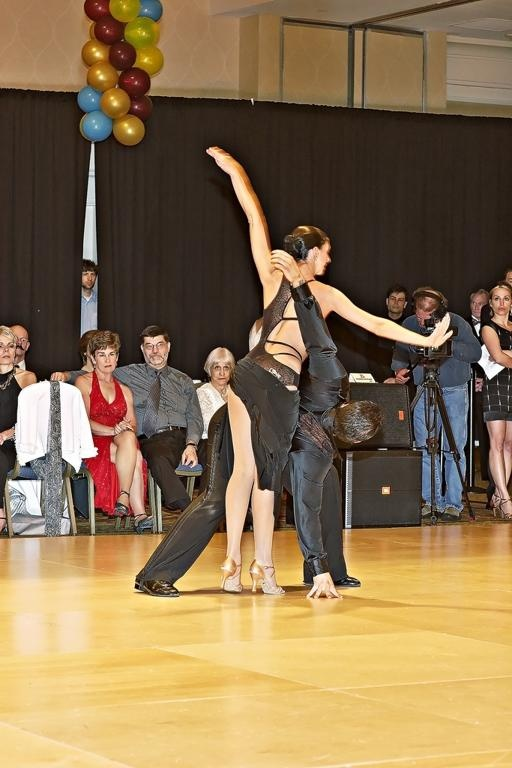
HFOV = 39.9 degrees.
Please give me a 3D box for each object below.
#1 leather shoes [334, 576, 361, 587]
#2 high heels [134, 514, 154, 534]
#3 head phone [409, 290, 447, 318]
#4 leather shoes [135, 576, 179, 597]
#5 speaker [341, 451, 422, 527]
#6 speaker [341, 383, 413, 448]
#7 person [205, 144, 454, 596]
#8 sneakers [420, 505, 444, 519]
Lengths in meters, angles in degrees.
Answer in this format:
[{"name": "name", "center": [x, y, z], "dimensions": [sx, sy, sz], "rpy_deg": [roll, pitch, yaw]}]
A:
[{"name": "leather shoes", "center": [0.422, 0.925, 3.289], "dimensions": [0.130, 0.052, 0.045], "rpy_deg": [-3, -1, 5]}, {"name": "high heels", "center": [-0.823, 1.024, 5.146], "dimensions": [0.069, 0.081, 0.202], "rpy_deg": [7, -29, -29]}, {"name": "head phone", "center": [1.406, -0.644, 5.760], "dimensions": [0.224, 0.247, 0.286], "rpy_deg": [-8, -32, 5]}, {"name": "leather shoes", "center": [-0.425, 0.860, 3.024], "dimensions": [0.182, 0.077, 0.072], "rpy_deg": [-1, -2, 31]}, {"name": "speaker", "center": [0.998, 0.802, 5.744], "dimensions": [0.664, 0.624, 0.522], "rpy_deg": [-2, 8, -8]}, {"name": "speaker", "center": [0.989, 0.252, 5.940], "dimensions": [0.601, 0.543, 0.511], "rpy_deg": [0, -3, -12]}, {"name": "person", "center": [0.202, -0.117, 3.011], "dimensions": [0.901, 2.062, 0.410], "rpy_deg": [-2, -2, 15]}, {"name": "sneakers", "center": [1.512, 1.134, 6.200], "dimensions": [0.310, 0.131, 0.104], "rpy_deg": [9, -14, -27]}]
